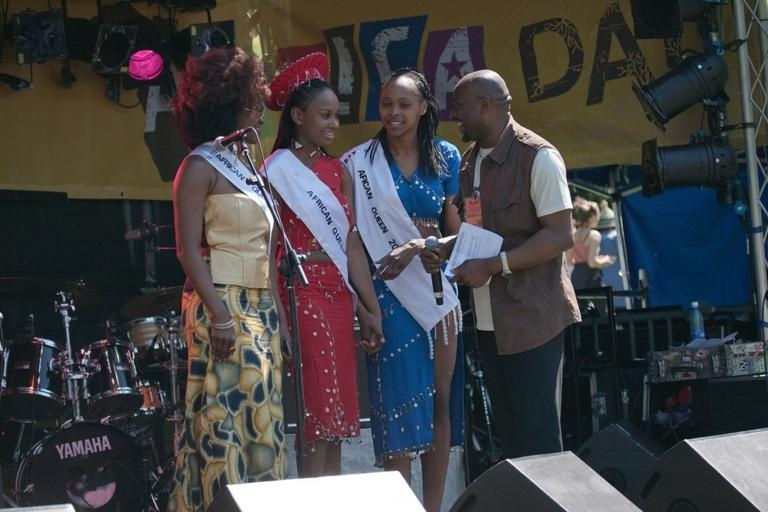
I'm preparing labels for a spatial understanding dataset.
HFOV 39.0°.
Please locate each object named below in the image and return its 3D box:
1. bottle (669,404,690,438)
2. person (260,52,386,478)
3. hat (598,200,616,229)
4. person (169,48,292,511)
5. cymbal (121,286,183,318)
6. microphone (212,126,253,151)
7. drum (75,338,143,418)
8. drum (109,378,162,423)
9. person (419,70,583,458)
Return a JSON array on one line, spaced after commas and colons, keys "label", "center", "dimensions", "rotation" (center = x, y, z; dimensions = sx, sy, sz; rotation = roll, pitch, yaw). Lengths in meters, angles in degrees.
[{"label": "bottle", "center": [2.460, 1.358, 8.987], "dimensions": [0.169, 0.275, 0.273], "rotation": [-5, 0, 17]}, {"label": "person", "center": [-0.446, 0.238, 7.600], "dimensions": [0.896, 3.235, 0.683], "rotation": [-10, 25, -18]}, {"label": "hat", "center": [2.295, -0.463, 11.165], "dimensions": [0.242, 0.268, 0.246], "rotation": [-3, -16, -1]}, {"label": "person", "center": [-1.039, 0.103, 6.932], "dimensions": [0.816, 2.906, 0.455], "rotation": [-5, 0, -7]}, {"label": "cymbal", "center": [-1.913, 0.372, 9.083], "dimensions": [0.366, 0.084, 0.364], "rotation": [5, -38, -32]}, {"label": "microphone", "center": [-0.962, -0.754, 6.927], "dimensions": [0.289, 0.102, 0.101], "rotation": [-22, 34, 9]}, {"label": "drum", "center": [-2.257, 0.999, 8.917], "dimensions": [0.605, 0.646, 0.392], "rotation": [-6, 0, 31]}, {"label": "drum", "center": [-1.991, 1.222, 8.926], "dimensions": [0.399, 0.245, 0.369], "rotation": [-13, -7, -2]}, {"label": "person", "center": [0.834, 0.028, 6.997], "dimensions": [0.807, 2.518, 0.495], "rotation": [-5, 0, 9]}]
